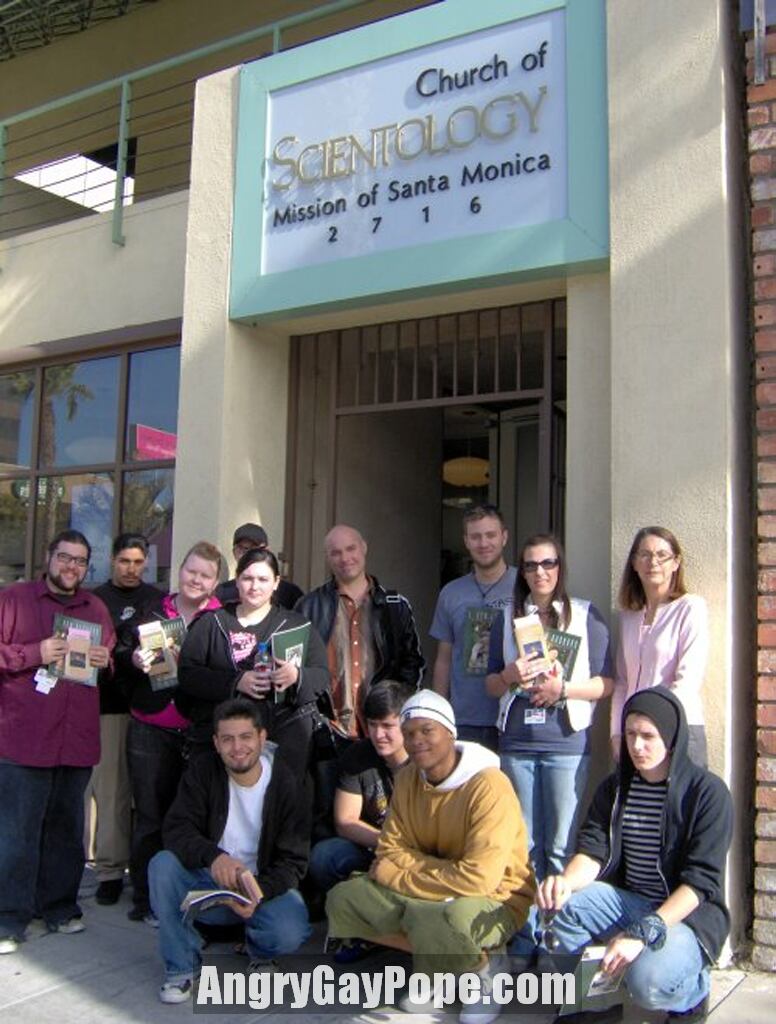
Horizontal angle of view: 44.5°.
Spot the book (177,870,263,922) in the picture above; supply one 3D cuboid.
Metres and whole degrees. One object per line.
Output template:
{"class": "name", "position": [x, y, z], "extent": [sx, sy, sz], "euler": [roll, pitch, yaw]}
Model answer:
{"class": "book", "position": [-0.590, 1.395, 3.415], "extent": [0.227, 0.111, 0.227], "euler": [-3, -39, -25]}

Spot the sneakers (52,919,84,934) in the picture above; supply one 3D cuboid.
{"class": "sneakers", "position": [-1.453, 1.875, 4.310], "extent": [0.125, 0.051, 0.052], "euler": [9, -14, -3]}

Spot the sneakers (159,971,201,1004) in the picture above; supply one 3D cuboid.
{"class": "sneakers", "position": [-0.767, 1.732, 3.430], "extent": [0.056, 0.064, 0.150], "euler": [-2, -21, 8]}

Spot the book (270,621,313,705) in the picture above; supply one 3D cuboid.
{"class": "book", "position": [-0.427, 0.682, 4.185], "extent": [0.051, 0.347, 0.343], "euler": [4, 9, 30]}

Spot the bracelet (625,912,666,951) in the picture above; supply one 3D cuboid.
{"class": "bracelet", "position": [0.816, 1.328, 2.982], "extent": [0.117, 0.082, 0.050], "euler": [-1, -6, -9]}

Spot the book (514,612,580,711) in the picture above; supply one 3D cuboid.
{"class": "book", "position": [0.658, 0.615, 3.875], "extent": [0.362, 0.368, 0.062], "euler": [14, -24, -5]}

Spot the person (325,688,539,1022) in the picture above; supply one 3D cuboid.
{"class": "person", "position": [0.162, 1.211, 3.481], "extent": [0.625, 1.093, 0.433], "euler": [-3, -6, 36]}

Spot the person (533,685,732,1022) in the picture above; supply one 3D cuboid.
{"class": "person", "position": [0.879, 1.155, 3.275], "extent": [0.562, 1.075, 0.521], "euler": [3, -5, -19]}

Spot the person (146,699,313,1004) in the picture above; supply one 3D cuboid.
{"class": "person", "position": [-0.590, 1.277, 3.709], "extent": [0.649, 1.070, 0.772], "euler": [3, -5, -21]}

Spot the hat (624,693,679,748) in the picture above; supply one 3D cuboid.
{"class": "hat", "position": [0.948, 0.723, 3.314], "extent": [0.155, 0.191, 0.206], "euler": [-9, -47, 27]}

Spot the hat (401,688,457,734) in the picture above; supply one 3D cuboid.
{"class": "hat", "position": [0.163, 0.710, 3.436], "extent": [0.149, 0.142, 0.169], "euler": [-2, 4, 0]}

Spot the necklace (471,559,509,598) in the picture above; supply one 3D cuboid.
{"class": "necklace", "position": [0.481, 0.306, 4.511], "extent": [0.152, 0.190, 0.133], "euler": [-4, -47, 10]}
